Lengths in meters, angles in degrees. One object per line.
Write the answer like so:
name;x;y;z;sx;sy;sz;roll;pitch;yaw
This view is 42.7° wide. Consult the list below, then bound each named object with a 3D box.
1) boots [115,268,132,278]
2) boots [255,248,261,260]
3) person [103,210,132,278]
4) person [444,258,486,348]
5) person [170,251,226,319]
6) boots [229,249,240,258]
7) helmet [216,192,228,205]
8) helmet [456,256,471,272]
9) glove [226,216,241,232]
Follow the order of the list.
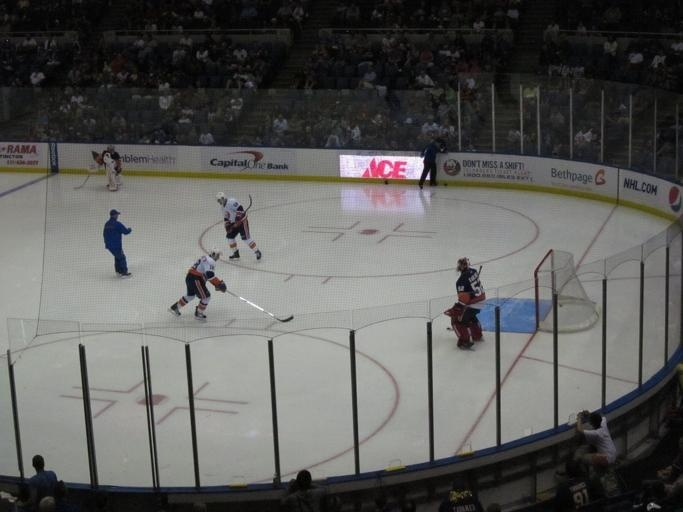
boots;-4.618;0.367;18.552;0.258;0.112;0.131;1;18;10
boots;-1.846;-0.053;19.381;0.113;0.220;0.223;0;49;7
person;-4.752;-0.289;18.529;0.518;1.406;0.780;-3;5;-14
person;1.851;0.722;13.073;0.531;1.198;2.570;-1;4;10
person;-2.543;0.502;16.049;0.823;1.246;0.951;8;7;40
boots;-2.378;-0.068;19.517;0.264;0.234;0.126;6;19;14
helmet;-2.560;-1.261;18.935;0.212;0.250;0.266;-19;-1;4
helmet;2.117;0.130;15.246;0.226;0.276;0.287;2;6;-21
glove;-2.361;-0.697;19.050;0.375;0.377;0.189;-2;5;0
